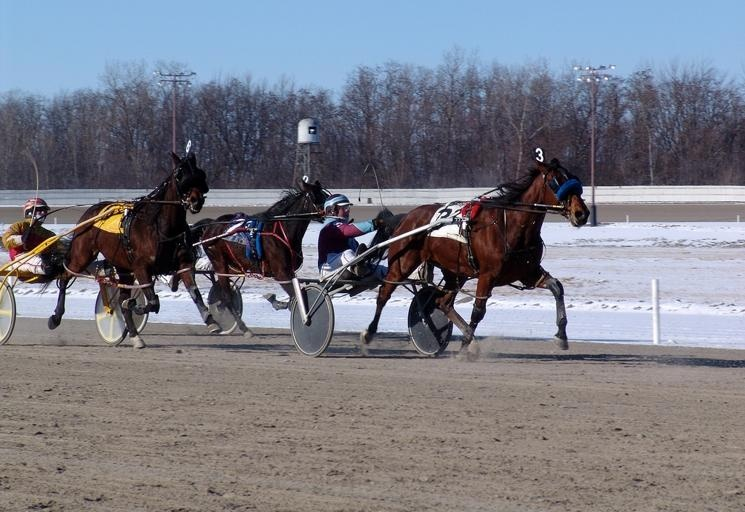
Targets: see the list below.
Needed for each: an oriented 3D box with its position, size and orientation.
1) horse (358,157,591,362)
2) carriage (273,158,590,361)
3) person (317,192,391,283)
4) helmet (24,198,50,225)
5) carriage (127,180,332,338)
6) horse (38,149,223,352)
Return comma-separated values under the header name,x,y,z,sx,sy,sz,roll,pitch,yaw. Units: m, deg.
name,x,y,z,sx,sy,sz,roll,pitch,yaw
horse,1.644,-0.087,18.398,2.861,2.873,0.900,0,6,10
carriage,0.943,0.152,18.979,5.168,2.627,1.527,-6,-11,36
person,-0.326,-0.322,18.894,1.022,1.099,0.995,4,8,27
helmet,-5.311,-0.702,20.187,0.490,0.424,0.376,-7,-5,37
carriage,-1.854,0.025,20.392,3.495,2.101,0.791,-4,2,45
horse,-3.648,-0.054,19.872,0.988,2.847,4.448,0,-2,-40
